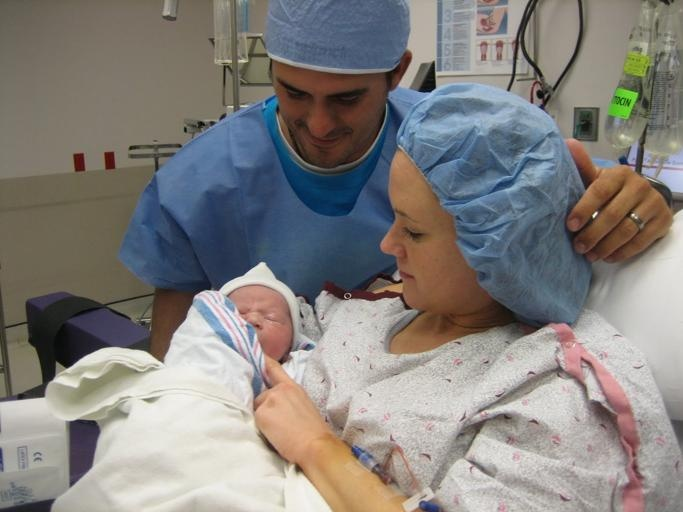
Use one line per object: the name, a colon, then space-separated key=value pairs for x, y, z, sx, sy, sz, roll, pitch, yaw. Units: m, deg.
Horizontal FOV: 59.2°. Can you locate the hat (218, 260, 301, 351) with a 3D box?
hat: x=-0.233 y=0.137 z=1.856 sx=0.190 sy=0.293 sz=0.098 roll=-7 pitch=-7 yaw=11
